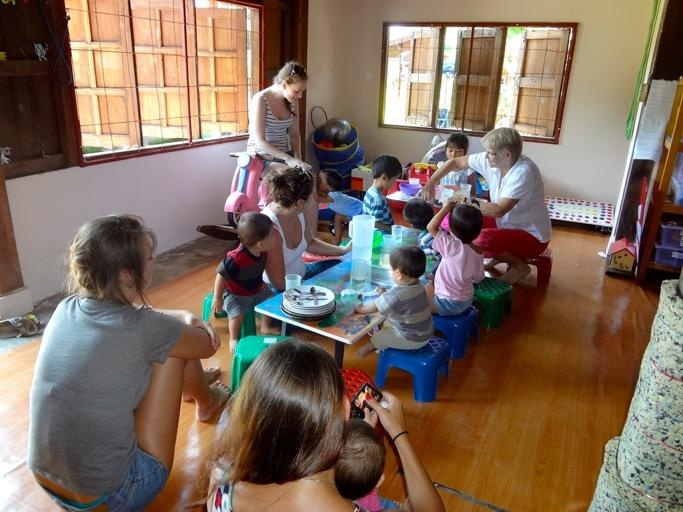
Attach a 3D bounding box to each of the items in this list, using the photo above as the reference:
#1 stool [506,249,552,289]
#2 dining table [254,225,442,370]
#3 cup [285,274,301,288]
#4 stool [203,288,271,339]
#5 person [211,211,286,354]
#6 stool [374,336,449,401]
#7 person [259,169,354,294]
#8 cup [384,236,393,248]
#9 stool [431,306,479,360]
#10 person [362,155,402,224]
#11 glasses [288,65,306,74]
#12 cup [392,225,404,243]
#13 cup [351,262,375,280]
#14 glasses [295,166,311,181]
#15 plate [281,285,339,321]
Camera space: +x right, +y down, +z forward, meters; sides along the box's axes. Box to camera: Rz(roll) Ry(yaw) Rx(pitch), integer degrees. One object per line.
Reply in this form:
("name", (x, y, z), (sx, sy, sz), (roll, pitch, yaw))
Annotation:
("stool", (1.789, 0.100, 4.444), (0.294, 0.386, 0.301), (10, 29, 31))
("dining table", (-0.002, 0.383, 3.040), (0.619, 0.238, 1.029), (20, 20, 21))
("cup", (-0.303, 0.157, 2.898), (0.081, 0.094, 0.082), (3, 26, -2))
("stool", (-0.747, 0.387, 3.342), (0.379, 0.293, 0.378), (-8, 28, -42))
("person", (-0.637, 0.175, 3.198), (0.302, 0.988, 0.552), (23, 30, 32))
("stool", (0.444, 0.674, 2.960), (0.370, 0.253, 0.378), (12, 20, 37))
("person", (-0.249, -0.092, 3.282), (0.621, 0.945, 0.730), (4, 34, -3))
("cup", (0.348, -0.103, 3.560), (0.082, 0.100, 0.085), (-1, 19, 0))
("stool", (0.762, 0.499, 3.395), (0.349, 0.286, 0.355), (15, 27, 38))
("person", (0.361, -0.438, 4.347), (0.347, 0.970, 0.412), (-2, 20, -3))
("glasses", (-0.404, -1.644, 4.171), (0.155, 0.126, 0.101), (1, 22, 3))
("cup", (0.440, -0.168, 3.703), (0.119, 0.139, 0.088), (-5, 9, -24))
("cup", (0.135, 0.106, 3.183), (0.119, 0.140, 0.121), (2, 13, 0))
("glasses", (-0.254, -0.557, 3.192), (0.098, 0.089, 0.255), (2, 22, 5))
("plate", (-0.201, 0.273, 2.731), (0.306, 0.090, 0.282), (-3, 22, -8))
